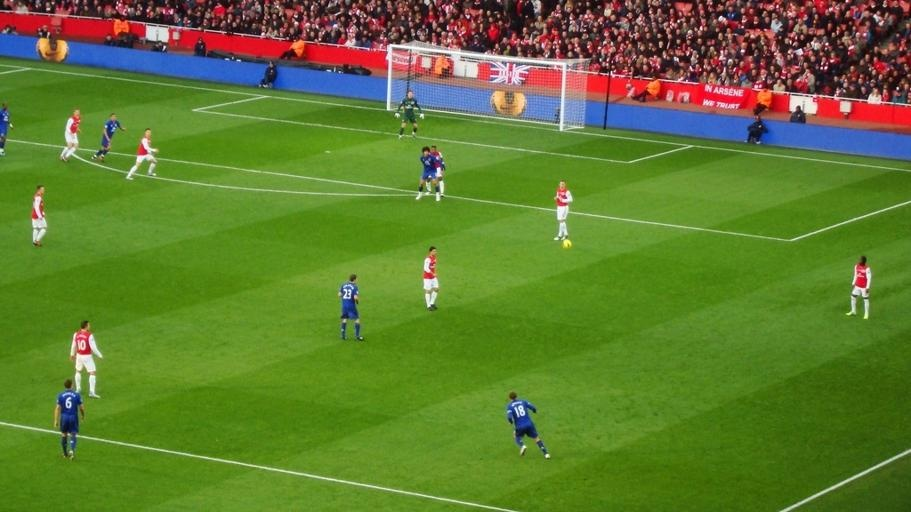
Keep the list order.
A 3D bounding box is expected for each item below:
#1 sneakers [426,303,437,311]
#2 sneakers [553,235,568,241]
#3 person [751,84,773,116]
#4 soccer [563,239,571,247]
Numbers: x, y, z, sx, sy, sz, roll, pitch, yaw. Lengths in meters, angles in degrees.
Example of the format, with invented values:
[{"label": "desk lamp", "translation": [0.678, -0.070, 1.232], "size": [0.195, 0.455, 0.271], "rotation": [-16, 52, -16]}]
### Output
[{"label": "sneakers", "translation": [-0.936, 1.936, 52.832], "size": [0.478, 0.187, 0.155], "rotation": [-2, 24, -12]}, {"label": "sneakers", "translation": [4.442, -0.814, 57.695], "size": [0.591, 0.196, 0.212], "rotation": [5, 8, 33]}, {"label": "person", "translation": [15.940, -8.098, 70.399], "size": [0.870, 1.381, 1.634], "rotation": [11, 24, 12]}, {"label": "soccer", "translation": [4.716, -0.561, 57.298], "size": [0.378, 0.257, 0.252], "rotation": [-9, 1, 21]}]
